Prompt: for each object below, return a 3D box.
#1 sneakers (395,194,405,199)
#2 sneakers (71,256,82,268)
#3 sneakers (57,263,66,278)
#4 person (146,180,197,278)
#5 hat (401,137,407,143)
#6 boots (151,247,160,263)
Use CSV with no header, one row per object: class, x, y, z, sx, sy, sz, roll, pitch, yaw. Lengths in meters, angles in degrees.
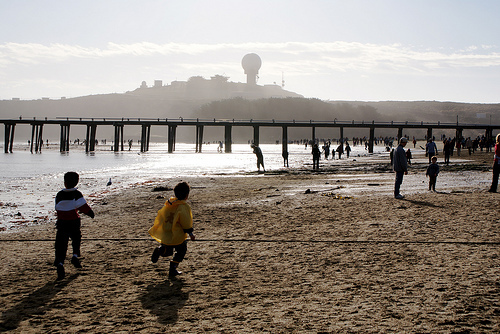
sneakers,4.582,0.890,16.514,0.367,0.148,0.120,-3,11,-16
sneakers,-3.339,1.845,10.617,0.354,0.145,0.144,-1,-4,44
sneakers,-3.523,1.926,10.241,0.171,0.222,0.274,2,30,-12
person,-1.513,1.136,10.423,0.818,1.765,0.982,-4,13,-11
hat,4.518,-0.787,16.125,0.190,0.135,0.310,8,-2,32
boots,-1.811,1.729,10.509,0.212,0.368,0.098,7,8,-11
